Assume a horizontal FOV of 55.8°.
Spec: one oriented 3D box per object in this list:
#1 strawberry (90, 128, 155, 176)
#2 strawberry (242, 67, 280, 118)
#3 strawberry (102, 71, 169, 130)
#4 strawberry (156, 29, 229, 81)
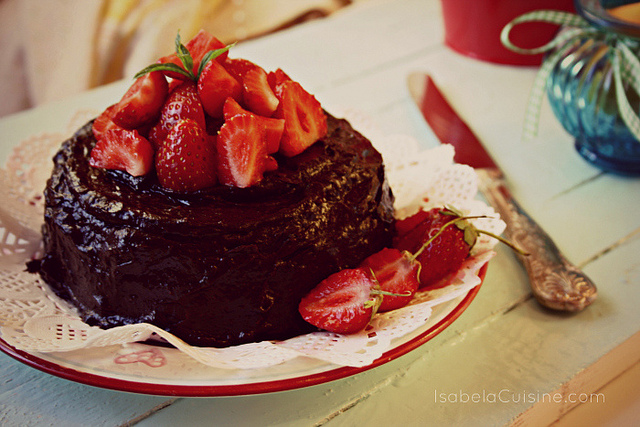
[{"bbox_3d":[-0.595,-0.188,1.826,0.073,0.164,0.152,-46,-22,-70],"label":"strawberry"},{"bbox_3d":[-0.200,-0.350,1.921,0.072,0.134,0.195,-46,40,45],"label":"strawberry"},{"bbox_3d":[-0.588,-0.352,1.901,0.188,0.077,0.182,-42,2,-32],"label":"strawberry"},{"bbox_3d":[-0.409,-0.501,2.013,0.196,0.077,0.202,23,66,41],"label":"strawberry"}]
